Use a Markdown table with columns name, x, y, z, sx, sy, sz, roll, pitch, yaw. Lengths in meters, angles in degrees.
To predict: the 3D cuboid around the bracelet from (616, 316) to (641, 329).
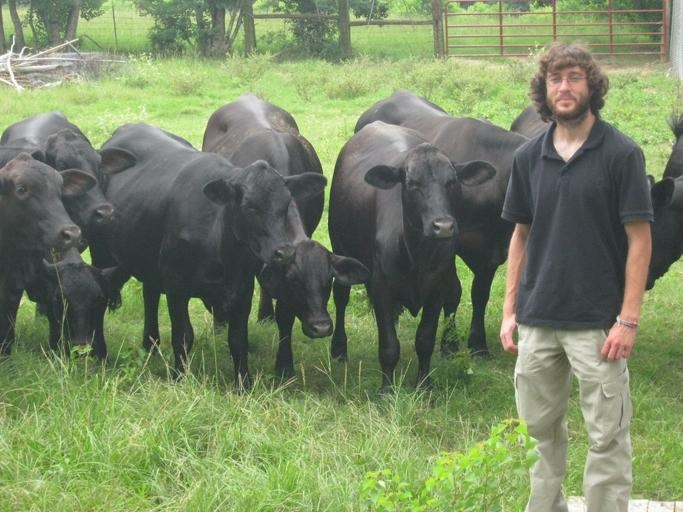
| name | x | y | z | sx | sy | sz | roll | pitch | yaw |
| --- | --- | --- | --- | --- | --- | --- | --- | --- | --- |
| bracelet | 2.034 | 0.477 | 6.457 | 0.148 | 0.087 | 0.104 | 3 | 9 | 15 |
